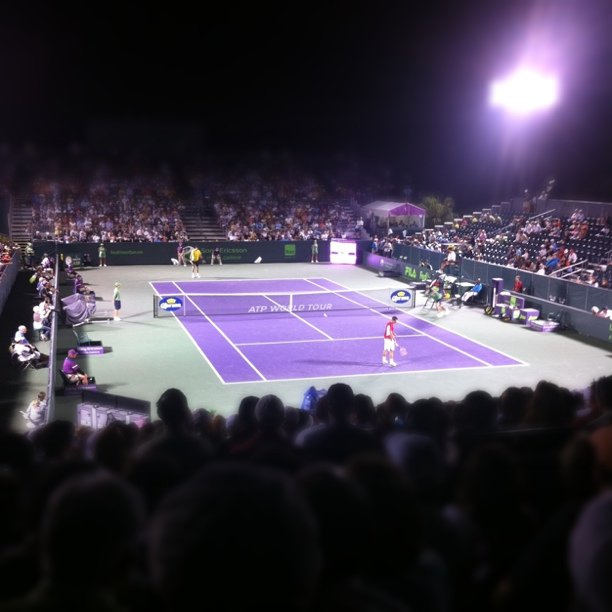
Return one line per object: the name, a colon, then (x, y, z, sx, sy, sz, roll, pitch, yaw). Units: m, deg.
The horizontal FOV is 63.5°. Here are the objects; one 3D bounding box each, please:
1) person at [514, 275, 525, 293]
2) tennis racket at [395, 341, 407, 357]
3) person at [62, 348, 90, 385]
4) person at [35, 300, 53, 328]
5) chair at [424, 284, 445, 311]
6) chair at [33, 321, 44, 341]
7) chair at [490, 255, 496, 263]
person: (13.588, -1.396, 31.216, 0.288, 1.009, 0.765, -4, 11, -26)
tennis racket: (4.651, 2.136, 23.715, 0.348, 0.337, 0.588, -41, 28, -24)
person: (-8.590, 2.432, 18.477, 0.839, 1.796, 0.698, -6, 9, -36)
person: (-12.762, 0.403, 24.051, 0.750, 1.161, 1.386, -7, 13, -36)
chair: (8.982, -0.537, 33.472, 0.939, 1.362, 3.577, 3, 12, 15)
chair: (-12.912, 1.193, 23.875, 0.723, 1.133, 0.408, -1, 1, -36)
chair: (15.884, -4.000, 41.751, 0.285, 0.207, 0.773, 2, 15, 4)
